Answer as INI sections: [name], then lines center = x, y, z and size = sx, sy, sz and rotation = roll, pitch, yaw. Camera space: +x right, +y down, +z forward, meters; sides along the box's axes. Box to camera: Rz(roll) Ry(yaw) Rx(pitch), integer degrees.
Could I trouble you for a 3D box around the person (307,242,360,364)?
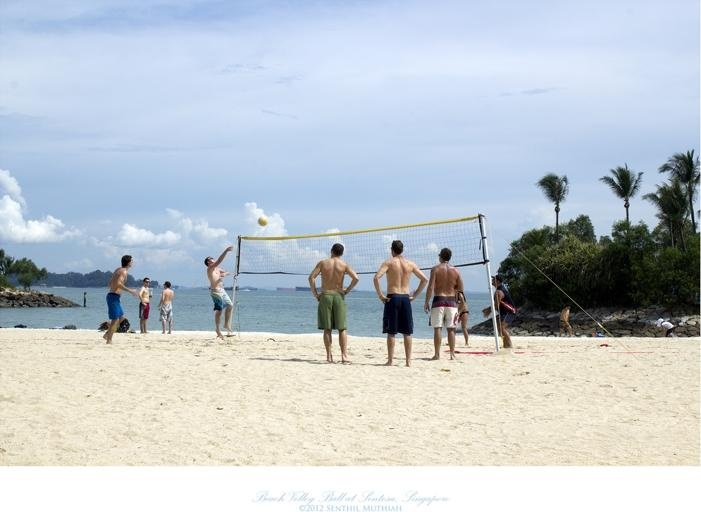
[person]
center = -0.252, 0.726, 11.174
size = 0.672, 2.076, 1.220
rotation = 0, 14, -1
